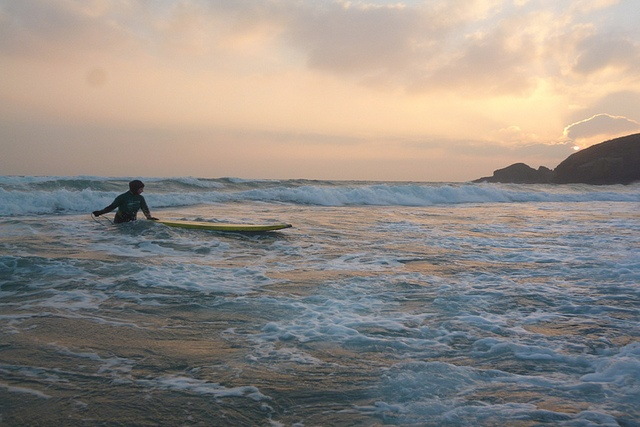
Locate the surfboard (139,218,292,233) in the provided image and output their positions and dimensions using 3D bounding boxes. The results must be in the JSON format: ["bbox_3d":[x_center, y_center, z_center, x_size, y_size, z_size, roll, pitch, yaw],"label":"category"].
[{"bbox_3d":[-2.621,0.293,12.409,2.911,0.114,0.360,2,0,1],"label":"surfboard"}]

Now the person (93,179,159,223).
[{"bbox_3d":[-4.325,-0.235,11.532,0.960,1.019,0.797,3,5,-13],"label":"person"}]
